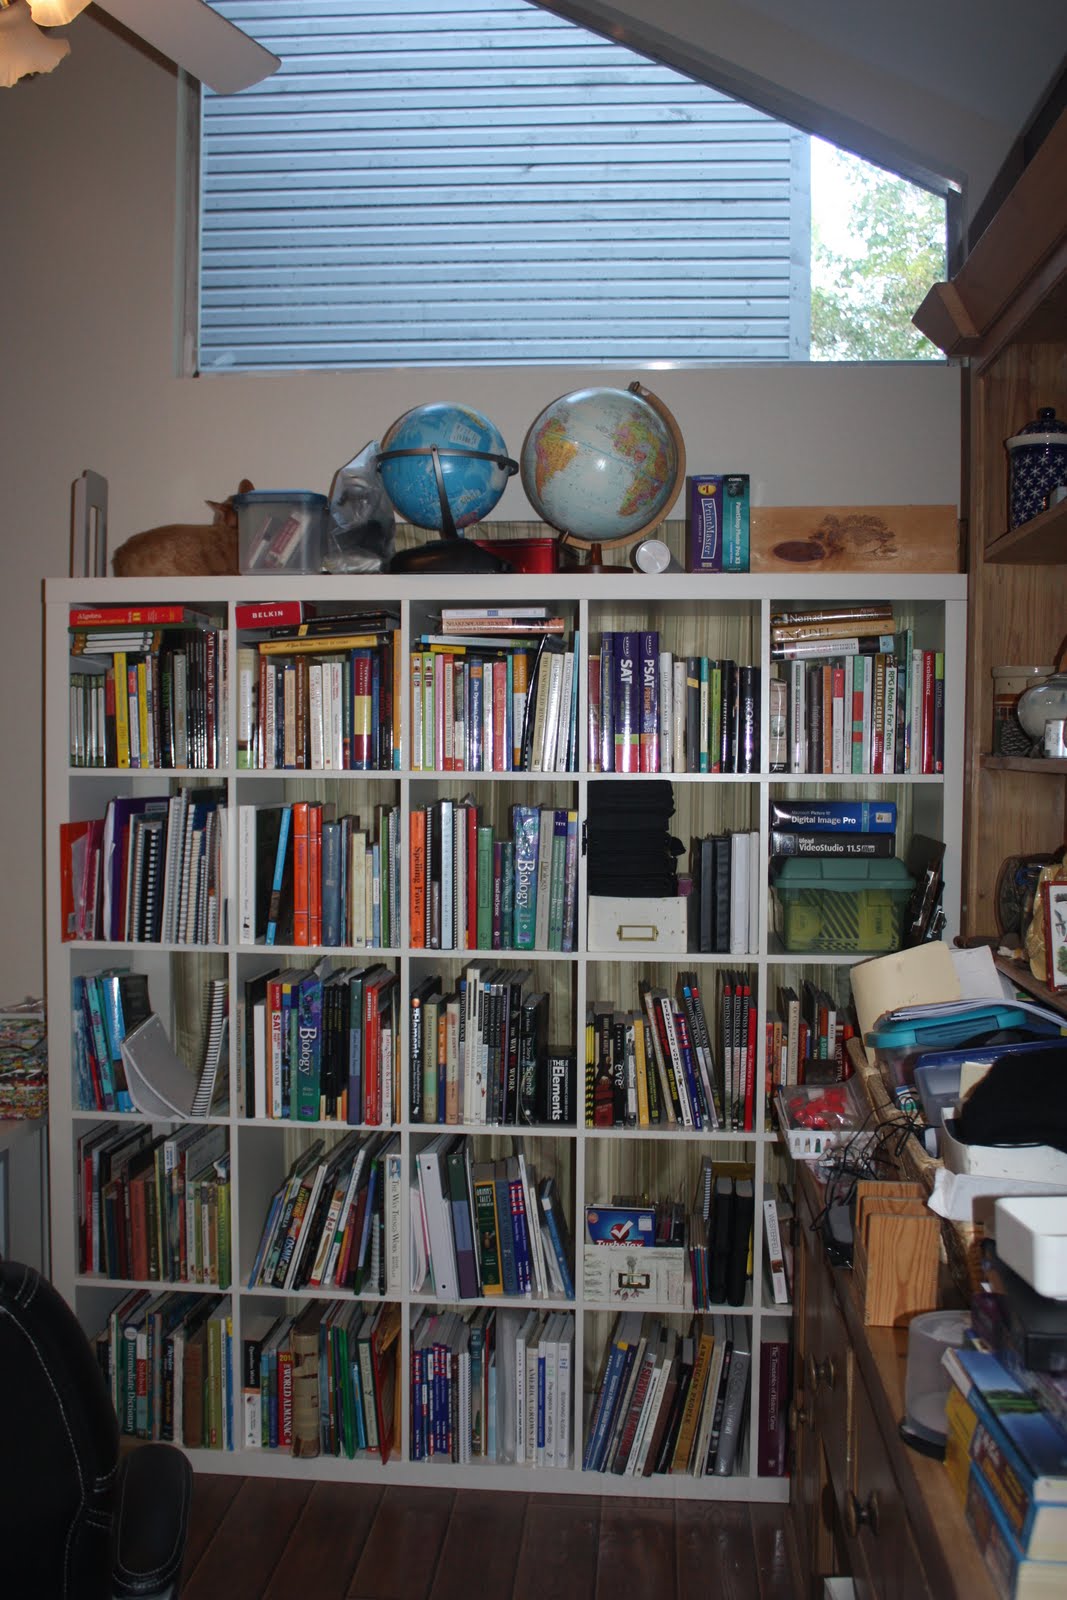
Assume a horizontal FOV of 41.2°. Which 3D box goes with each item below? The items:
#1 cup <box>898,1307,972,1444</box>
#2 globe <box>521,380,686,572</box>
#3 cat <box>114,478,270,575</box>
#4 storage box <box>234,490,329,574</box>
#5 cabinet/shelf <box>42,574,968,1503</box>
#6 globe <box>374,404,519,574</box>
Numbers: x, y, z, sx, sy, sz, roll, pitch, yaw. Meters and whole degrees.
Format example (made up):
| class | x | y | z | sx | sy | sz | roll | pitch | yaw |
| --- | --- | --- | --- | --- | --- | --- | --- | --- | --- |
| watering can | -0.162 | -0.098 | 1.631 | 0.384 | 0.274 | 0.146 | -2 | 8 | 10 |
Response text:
| class | x | y | z | sx | sy | sz | roll | pitch | yaw |
| --- | --- | --- | --- | --- | --- | --- | --- | --- | --- |
| cup | 0.456 | 0.646 | 1.573 | 0.090 | 0.125 | 0.106 | 6 | 2 | 8 |
| globe | 0.118 | -0.593 | 2.636 | 0.241 | 0.366 | 0.267 | 2 | 4 | -13 |
| cat | -0.656 | -0.487 | 2.796 | 0.280 | 0.157 | 0.225 | -14 | -27 | -13 |
| storage box | -0.471 | -0.500 | 2.656 | 0.132 | 0.166 | 0.152 | 1 | 9 | 6 |
| cabinet/shelf | -0.066 | 0.413 | 2.534 | 1.288 | 1.544 | 0.435 | 1 | 5 | 6 |
| globe | -0.163 | -0.581 | 2.648 | 0.247 | 0.335 | 0.280 | -2 | 0 | 18 |
